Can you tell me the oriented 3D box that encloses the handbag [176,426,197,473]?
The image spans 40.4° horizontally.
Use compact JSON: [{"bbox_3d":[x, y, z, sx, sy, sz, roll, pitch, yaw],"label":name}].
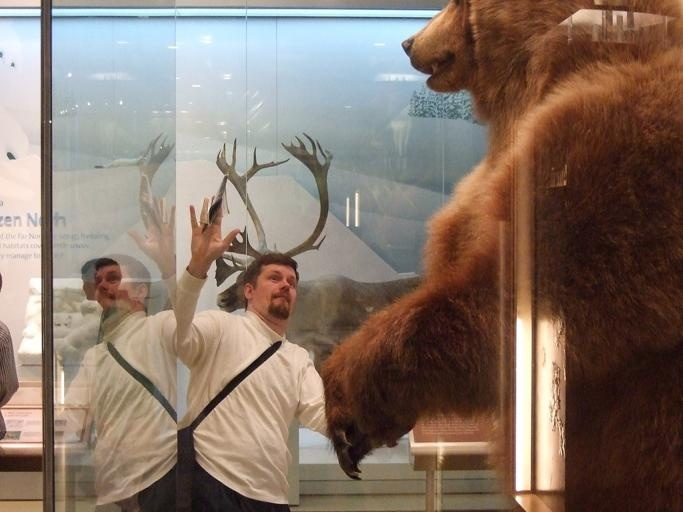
[{"bbox_3d":[-0.635,0.792,3.790,0.093,0.152,0.033,0,4,-1],"label":"handbag"}]
